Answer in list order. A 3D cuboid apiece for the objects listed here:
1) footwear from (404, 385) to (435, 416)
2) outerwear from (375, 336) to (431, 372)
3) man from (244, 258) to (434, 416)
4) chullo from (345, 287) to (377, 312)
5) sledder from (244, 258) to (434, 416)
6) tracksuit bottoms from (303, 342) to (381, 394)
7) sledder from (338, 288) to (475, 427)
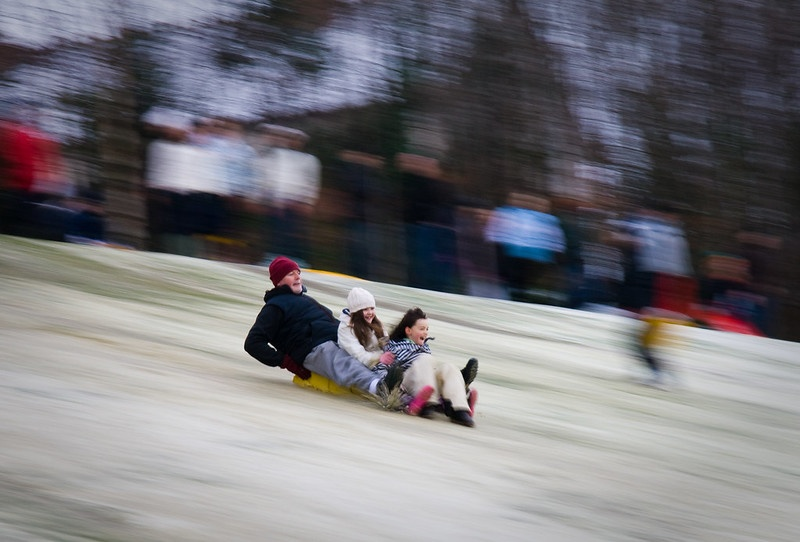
[{"bbox_3d":[0.165,0.963,11.569,0.112,0.341,0.141,53,1,8],"label":"footwear"},{"bbox_3d":[0.046,0.612,11.668,0.485,0.109,0.264,0,39,5],"label":"outerwear"},{"bbox_3d":[-0.416,0.422,11.500,1.214,0.867,1.875,-21,18,-15],"label":"man"},{"bbox_3d":[-0.266,0.213,11.766,0.293,0.156,0.205,6,12,22],"label":"chullo"},{"bbox_3d":[-0.424,0.500,11.704,1.394,0.602,0.742,29,44,31],"label":"sledder"},{"bbox_3d":[-0.436,0.719,11.735,0.660,0.258,0.188,17,-16,35],"label":"tracksuit bottoms"},{"bbox_3d":[0.031,0.590,11.726,0.655,0.560,1.334,-20,36,-40],"label":"sledder"}]
